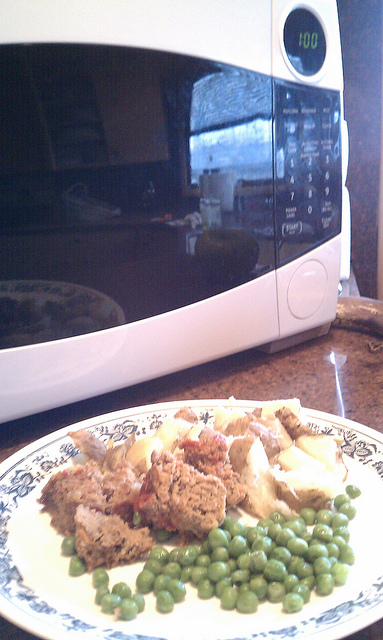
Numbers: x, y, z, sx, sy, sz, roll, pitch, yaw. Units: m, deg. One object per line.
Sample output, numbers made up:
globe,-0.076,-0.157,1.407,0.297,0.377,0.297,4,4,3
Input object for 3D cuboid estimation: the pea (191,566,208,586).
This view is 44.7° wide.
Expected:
pea,0.004,0.142,0.258,0.008,0.007,0.009,-28,40,26

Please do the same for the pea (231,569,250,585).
pea,0.027,0.141,0.257,0.010,0.004,0.009,2,14,6

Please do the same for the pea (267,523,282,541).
pea,0.051,0.128,0.284,0.006,0.009,0.005,18,20,-50

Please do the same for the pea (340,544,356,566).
pea,0.088,0.131,0.261,0.005,0.010,0.006,1,-11,19

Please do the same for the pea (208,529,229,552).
pea,0.016,0.130,0.276,0.010,0.010,0.012,29,36,-22

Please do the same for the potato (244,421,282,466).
potato,0.052,0.087,0.353,0.020,0.028,0.030,4,49,-35

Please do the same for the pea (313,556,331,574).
pea,0.071,0.132,0.251,0.005,0.010,0.007,2,20,4

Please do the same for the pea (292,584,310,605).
pea,0.057,0.139,0.239,0.006,0.009,0.007,-23,1,13

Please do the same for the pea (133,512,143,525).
pea,-0.035,0.122,0.288,0.004,0.005,0.006,0,5,-3

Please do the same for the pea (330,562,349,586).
pea,0.079,0.134,0.247,0.007,0.011,0.008,-12,16,-32

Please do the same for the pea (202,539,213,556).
pea,0.010,0.137,0.281,0.003,0.009,0.006,-8,-10,10

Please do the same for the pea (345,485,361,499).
pea,0.111,0.118,0.315,0.006,0.007,0.008,-3,-30,9

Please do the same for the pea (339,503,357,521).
pea,0.102,0.123,0.300,0.006,0.010,0.007,22,44,35

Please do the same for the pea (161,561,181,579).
pea,-0.012,0.137,0.260,0.007,0.007,0.007,4,16,16

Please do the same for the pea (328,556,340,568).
pea,0.079,0.133,0.258,0.003,0.006,0.005,-2,-1,2

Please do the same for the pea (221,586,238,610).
pea,0.019,0.142,0.239,0.006,0.008,0.012,4,31,0

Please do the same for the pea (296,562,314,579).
pea,0.063,0.136,0.256,0.005,0.005,0.006,-9,10,-20

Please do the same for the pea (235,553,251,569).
pea,0.029,0.137,0.265,0.008,0.009,0.007,22,-16,-14

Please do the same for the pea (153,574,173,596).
pea,-0.016,0.138,0.249,0.007,0.010,0.008,25,25,24

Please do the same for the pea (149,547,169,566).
pea,-0.019,0.138,0.274,0.007,0.009,0.008,-24,-28,-3

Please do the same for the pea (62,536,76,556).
pea,-0.073,0.131,0.272,0.006,0.013,0.007,-2,-12,-7

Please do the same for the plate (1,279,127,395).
plate,-0.109,0.014,0.390,0.076,0.084,0.017,-5,39,-27

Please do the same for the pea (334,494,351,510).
pea,0.100,0.119,0.313,0.008,0.008,0.008,5,26,34

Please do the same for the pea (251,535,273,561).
pea,0.041,0.131,0.269,0.007,0.012,0.013,4,1,2

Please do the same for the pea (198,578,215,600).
pea,0.007,0.143,0.250,0.006,0.010,0.007,0,7,2

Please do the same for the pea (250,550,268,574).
pea,0.037,0.133,0.257,0.006,0.013,0.011,5,21,-3

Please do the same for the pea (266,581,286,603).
pea,0.045,0.141,0.242,0.006,0.011,0.009,5,9,1

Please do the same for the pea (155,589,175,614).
pea,-0.013,0.142,0.235,0.006,0.010,0.008,5,-27,-23

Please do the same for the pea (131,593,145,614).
pea,-0.028,0.142,0.237,0.004,0.010,0.006,-11,-11,-11

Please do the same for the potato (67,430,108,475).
potato,-0.076,0.092,0.342,0.010,0.035,0.018,-45,11,-20

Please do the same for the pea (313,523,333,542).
pea,0.079,0.128,0.281,0.007,0.009,0.009,11,52,14

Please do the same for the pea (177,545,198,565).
pea,-0.003,0.135,0.270,0.006,0.005,0.008,-11,30,-16

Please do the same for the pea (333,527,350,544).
pea,0.092,0.129,0.282,0.005,0.008,0.006,24,-11,-27

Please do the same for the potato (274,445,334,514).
potato,0.077,0.109,0.322,0.024,0.010,0.035,-13,39,5

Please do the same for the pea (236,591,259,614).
pea,0.028,0.141,0.235,0.008,0.010,0.007,-11,-15,12

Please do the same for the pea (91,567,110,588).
pea,-0.050,0.139,0.253,0.006,0.009,0.007,-8,-29,46

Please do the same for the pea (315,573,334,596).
pea,0.069,0.138,0.243,0.006,0.014,0.009,3,-23,2

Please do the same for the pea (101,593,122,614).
pea,-0.040,0.142,0.232,0.010,0.008,0.011,-3,13,-12

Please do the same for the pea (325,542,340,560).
pea,0.081,0.132,0.266,0.003,0.008,0.006,-3,-9,1

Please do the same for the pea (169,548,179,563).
pea,-0.011,0.137,0.273,0.004,0.006,0.006,1,16,0

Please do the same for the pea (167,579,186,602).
pea,-0.009,0.139,0.244,0.007,0.010,0.004,-26,2,28

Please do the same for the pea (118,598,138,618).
pea,-0.031,0.141,0.226,0.008,0.008,0.006,27,-35,-25

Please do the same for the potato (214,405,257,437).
potato,0.031,0.081,0.366,0.017,0.015,0.019,-10,11,-34

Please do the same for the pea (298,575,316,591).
pea,0.063,0.140,0.249,0.005,0.007,0.004,-27,62,-28

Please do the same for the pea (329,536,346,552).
pea,0.086,0.130,0.271,0.004,0.007,0.006,-4,-27,-4

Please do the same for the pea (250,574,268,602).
pea,0.036,0.140,0.245,0.006,0.013,0.008,-12,18,-3

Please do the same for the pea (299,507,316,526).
pea,0.077,0.128,0.306,0.007,0.011,0.009,-9,22,-3

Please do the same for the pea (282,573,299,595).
pea,0.052,0.139,0.247,0.004,0.010,0.006,8,-4,-13

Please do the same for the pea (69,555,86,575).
pea,-0.065,0.138,0.261,0.005,0.008,0.009,4,39,-5

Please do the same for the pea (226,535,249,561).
pea,0.027,0.133,0.273,0.010,0.011,0.016,35,50,-11

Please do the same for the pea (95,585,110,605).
pea,-0.046,0.140,0.240,0.005,0.009,0.006,10,27,2
